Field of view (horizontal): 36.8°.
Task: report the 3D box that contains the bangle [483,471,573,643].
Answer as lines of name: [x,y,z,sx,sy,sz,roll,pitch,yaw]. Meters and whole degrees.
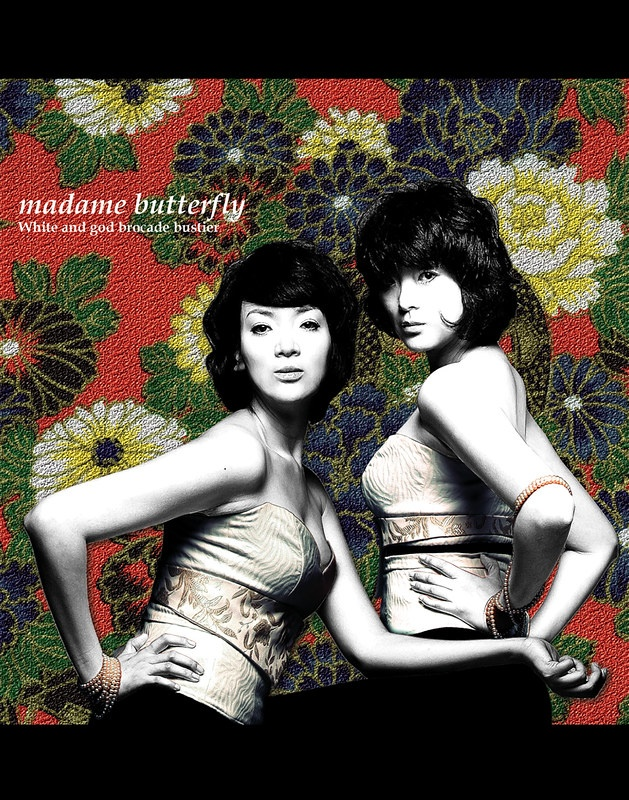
bangle: [0.287,0.233,1.369,0.153,0.234,0.057,11,12,-23]

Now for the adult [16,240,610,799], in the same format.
adult: [-0.088,0.166,1.419,0.643,0.718,0.553,-13,21,-21]

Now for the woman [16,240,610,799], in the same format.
woman: [-0.088,0.166,1.418,0.643,0.718,0.554,-13,21,-21]
